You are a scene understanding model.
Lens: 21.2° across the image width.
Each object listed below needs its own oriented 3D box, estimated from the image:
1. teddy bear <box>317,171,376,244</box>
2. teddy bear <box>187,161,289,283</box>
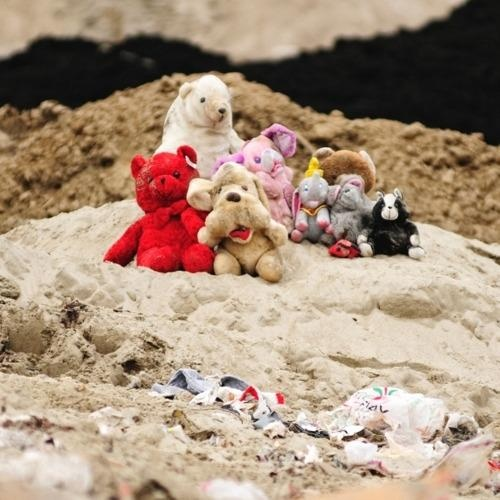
[{"bbox_3d":[0.861,-0.395,13.226,0.400,0.646,0.512,27,-27,-24],"label":"teddy bear"},{"bbox_3d":[-0.157,-0.245,12.669,0.862,1.106,0.608,-6,18,-2],"label":"teddy bear"}]
